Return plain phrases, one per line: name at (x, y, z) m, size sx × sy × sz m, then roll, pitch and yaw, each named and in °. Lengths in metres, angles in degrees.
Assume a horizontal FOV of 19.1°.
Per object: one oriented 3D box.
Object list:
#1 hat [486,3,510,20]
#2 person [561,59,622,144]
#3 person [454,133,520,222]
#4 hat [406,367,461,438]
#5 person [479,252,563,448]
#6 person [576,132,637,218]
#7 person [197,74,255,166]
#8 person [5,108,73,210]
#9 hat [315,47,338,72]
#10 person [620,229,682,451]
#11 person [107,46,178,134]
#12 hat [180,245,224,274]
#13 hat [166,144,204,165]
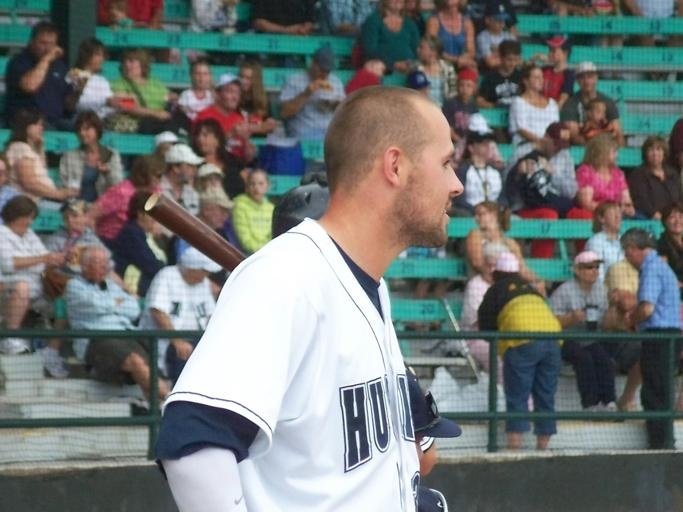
hat at (1.481, -2.300, 19.246) m, size 0.136 × 0.123 × 0.199 m, roll -15°, pitch 39°, yaw -26°
person at (2.221, -1.469, 19.271) m, size 0.615 × 0.974 × 0.656 m, roll 0°, pitch 4°, yaw 1°
person at (1.309, -0.744, 18.953) m, size 0.524 × 0.918 × 0.485 m, roll 0°, pitch 11°, yaw -4°
hat at (0.623, 1.158, 15.052) m, size 0.496 × 0.307 × 0.337 m, roll 22°, pitch 12°, yaw -6°
person at (1.583, 0.873, 18.168) m, size 0.750 × 1.702 × 0.633 m, roll 3°, pitch 5°, yaw 40°
person at (2.395, -0.706, 18.738) m, size 0.493 × 0.765 × 0.645 m, roll 2°, pitch 0°, yaw -26°
person at (-1.041, -1.202, 18.722) m, size 0.538 × 0.875 × 0.486 m, roll -16°, pitch 13°, yaw -28°
person at (-2.633, -0.857, 18.033) m, size 0.631 × 0.967 × 0.629 m, roll -5°, pitch 8°, yaw -30°
hat at (-0.145, -1.833, 19.007) m, size 0.155 × 0.235 × 0.132 m, roll -11°, pitch -30°, yaw -33°
person at (2.841, 0.757, 18.269) m, size 0.459 × 1.943 × 0.623 m, roll -2°, pitch 4°, yaw -17°
person at (-1.810, -1.491, 18.518) m, size 0.478 × 0.767 × 0.669 m, roll -5°, pitch 1°, yaw -29°
hat at (-1.283, 0.076, 18.059) m, size 0.414 × 0.125 × 0.270 m, roll 28°, pitch 7°, yaw -5°
hat at (-1.432, -0.891, 18.404) m, size 0.263 × 0.142 × 0.176 m, roll 2°, pitch 11°, yaw -12°
